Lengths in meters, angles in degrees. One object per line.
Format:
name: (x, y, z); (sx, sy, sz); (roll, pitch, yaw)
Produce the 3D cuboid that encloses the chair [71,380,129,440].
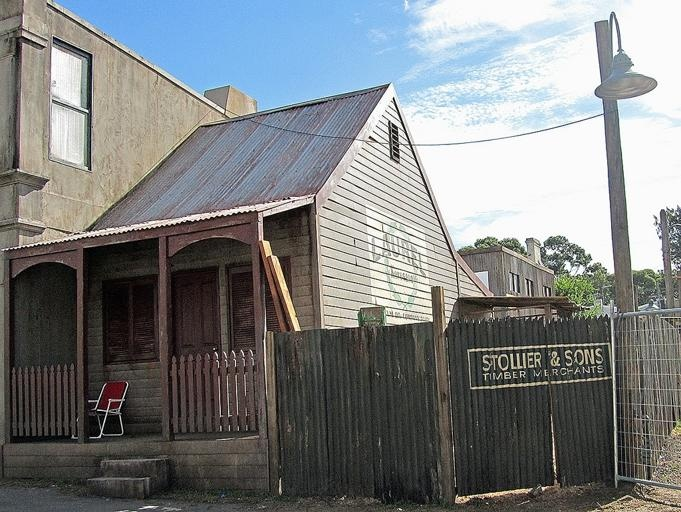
chair: (-4.804, 3.158, 15.433); (0.783, 0.998, 0.733); (-3, -2, -6)
